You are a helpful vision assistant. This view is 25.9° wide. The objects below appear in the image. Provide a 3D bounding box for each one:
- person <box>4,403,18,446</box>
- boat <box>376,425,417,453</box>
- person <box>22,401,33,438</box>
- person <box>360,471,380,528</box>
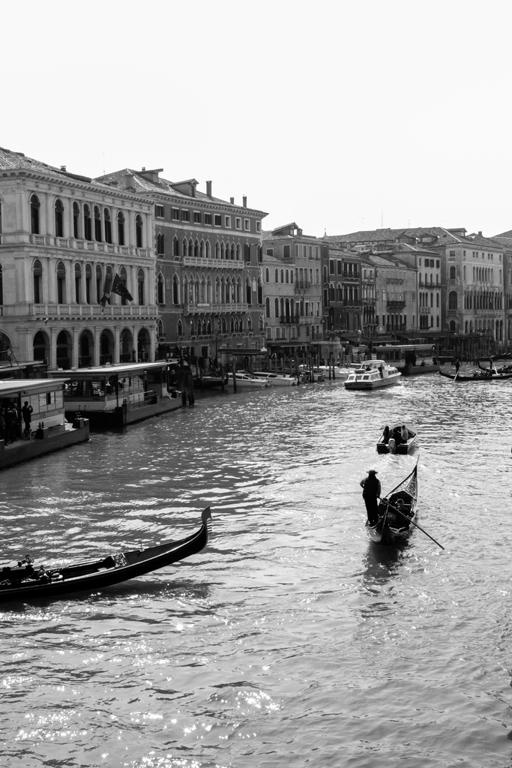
[{"bbox_3d":[-8.463,1.322,38.496,0.429,1.225,1.212,-2,8,-4],"label":"person"},{"bbox_3d":[5.126,2.102,40.962,0.696,0.732,2.421,2,10,15],"label":"boat"},{"bbox_3d":[-8.009,1.241,39.009,0.303,1.246,0.742,-4,8,-13],"label":"person"},{"bbox_3d":[2.548,2.485,24.751,0.415,1.410,0.458,4,26,14],"label":"person"}]
